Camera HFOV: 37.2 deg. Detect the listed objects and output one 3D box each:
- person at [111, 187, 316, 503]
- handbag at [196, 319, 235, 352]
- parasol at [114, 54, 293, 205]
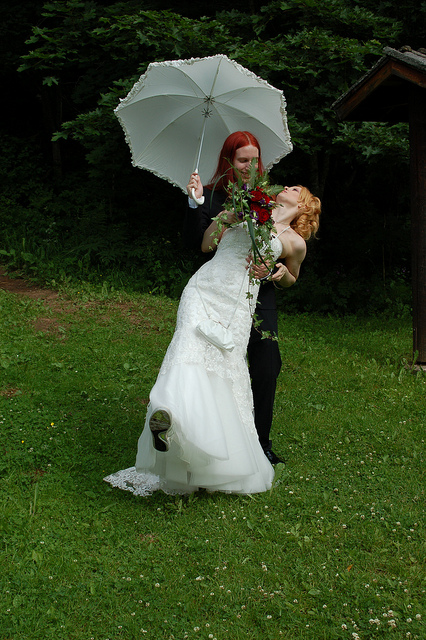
[{"bbox_3d":[0.114,0.160,3.947,1.114,2.141,0.952,7,5,-10],"label":"person"},{"bbox_3d":[0.031,0.086,3.917,0.236,0.088,0.177,36,28,-3],"label":"handbag"},{"bbox_3d":[-0.044,-1.431,4.591,1.226,0.335,1.133,-13,46,-27],"label":"parasol"}]
